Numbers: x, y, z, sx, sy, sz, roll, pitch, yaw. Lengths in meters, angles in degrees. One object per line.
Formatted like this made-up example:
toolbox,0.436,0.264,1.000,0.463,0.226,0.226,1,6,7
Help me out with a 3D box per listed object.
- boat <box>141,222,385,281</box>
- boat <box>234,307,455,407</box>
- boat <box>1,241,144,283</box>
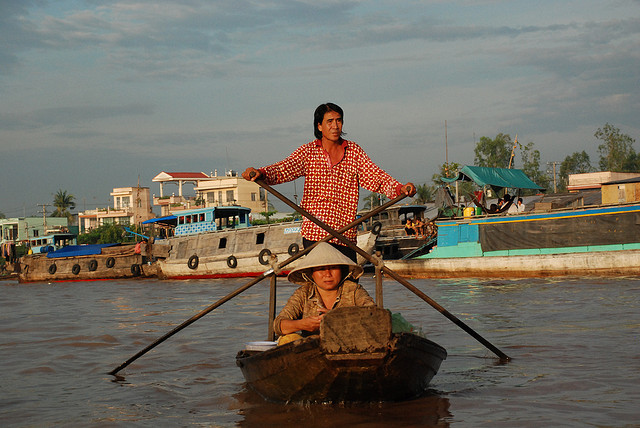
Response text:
boat,-3.081,1.499,43.593,11.806,2.041,3.236,-5,-2,29
boat,0.719,2.973,25.082,4.388,2.168,6.556,0,-1,-6
boat,-10.696,2.204,49.687,7.749,1.769,1.212,-4,1,35
